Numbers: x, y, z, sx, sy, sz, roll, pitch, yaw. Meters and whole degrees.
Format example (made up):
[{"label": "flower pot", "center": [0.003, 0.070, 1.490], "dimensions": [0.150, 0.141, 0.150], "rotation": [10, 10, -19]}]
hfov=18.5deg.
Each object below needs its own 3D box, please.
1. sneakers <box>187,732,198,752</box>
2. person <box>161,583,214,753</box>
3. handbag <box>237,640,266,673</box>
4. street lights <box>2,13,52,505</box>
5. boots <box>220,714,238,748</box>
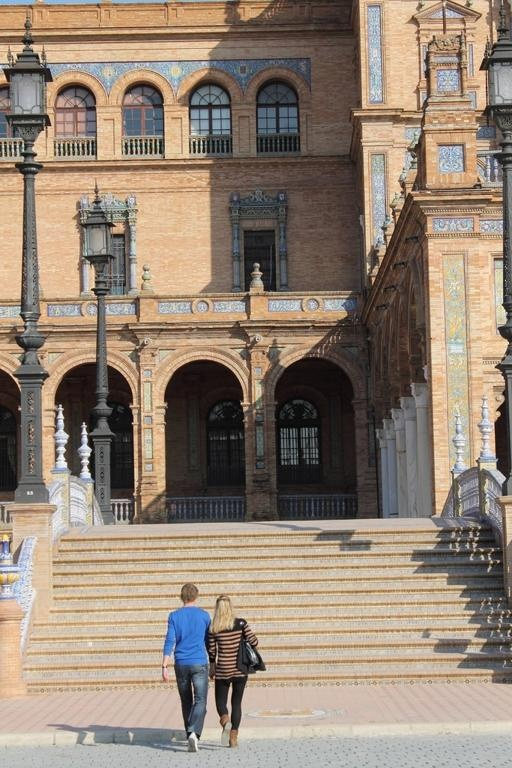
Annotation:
[{"label": "sneakers", "center": [-0.532, 3.002, 13.168], "dimensions": [0.069, 0.183, 0.076], "rotation": [1, 36, -1]}, {"label": "person", "center": [-0.582, 2.380, 13.352], "dimensions": [0.388, 1.386, 0.426], "rotation": [-2, -5, 1]}, {"label": "handbag", "center": [-0.058, 2.297, 13.436], "dimensions": [0.215, 0.291, 0.195], "rotation": [-2, -5, 0]}, {"label": "street lights", "center": [-2.642, -1.565, 18.532], "dimensions": [0.508, 5.855, 0.764], "rotation": [-1, -5, -9]}, {"label": "boots", "center": [-0.237, 2.924, 13.320], "dimensions": [0.108, 0.282, 0.195], "rotation": [2, -4, -16]}]
